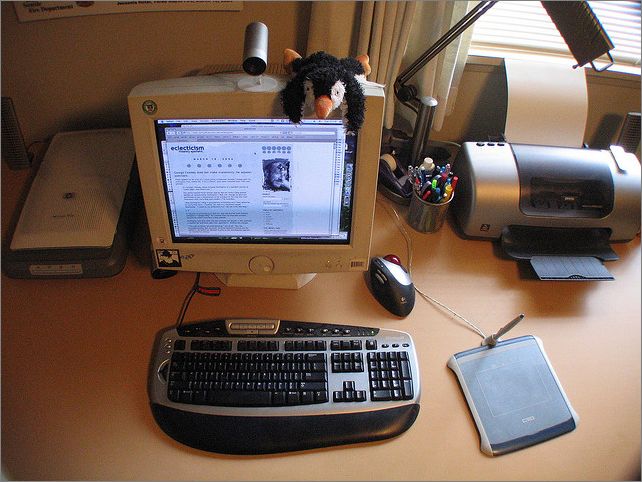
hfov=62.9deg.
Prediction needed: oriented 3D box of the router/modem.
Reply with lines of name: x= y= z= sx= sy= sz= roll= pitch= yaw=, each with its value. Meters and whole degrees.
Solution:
router/modem: x=0.443 y=0.353 z=1.203 sx=0.240 sy=0.036 sz=0.227 roll=-8 pitch=51 yaw=-12

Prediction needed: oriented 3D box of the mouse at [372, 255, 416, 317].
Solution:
mouse: x=0.198 y=0.085 z=1.384 sx=0.120 sy=0.081 sz=0.218 roll=-9 pitch=31 yaw=-9

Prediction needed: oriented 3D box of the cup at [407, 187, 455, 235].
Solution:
cup: x=0.313 y=-0.070 z=1.513 sx=0.112 sy=0.125 sz=0.119 roll=1 pitch=53 yaw=-1

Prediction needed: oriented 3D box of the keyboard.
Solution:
keyboard: x=-0.085 y=0.323 z=1.188 sx=0.617 sy=0.068 sz=0.296 roll=3 pitch=50 yaw=-3

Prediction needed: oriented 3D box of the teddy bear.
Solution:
teddy bear: x=0.011 y=-0.321 z=1.133 sx=0.191 sy=0.120 sz=0.182 roll=3 pitch=49 yaw=-3
